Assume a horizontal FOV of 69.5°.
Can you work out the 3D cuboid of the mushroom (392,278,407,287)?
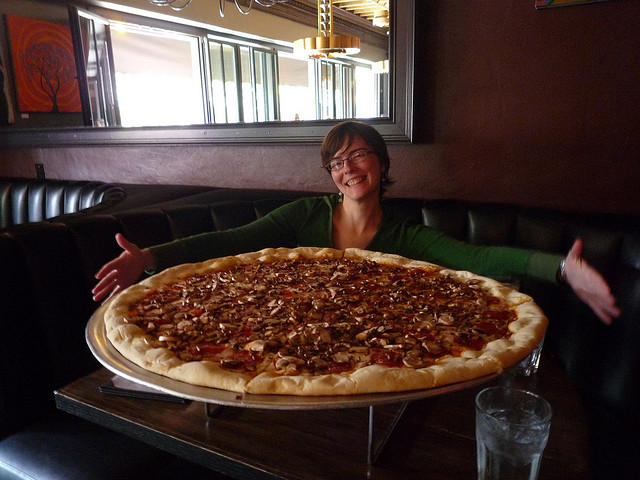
[{"bbox_3d":[0.319,0.166,1.832,0.022,0.017,0.073,-13,5,41],"label":"mushroom"}]

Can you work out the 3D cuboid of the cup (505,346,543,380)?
[{"bbox_3d":[0.657,0.387,1.525,0.125,0.104,0.126,-7,1,0],"label":"cup"}]

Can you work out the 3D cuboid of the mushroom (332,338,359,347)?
[{"bbox_3d":[0.083,0.315,1.433,0.050,0.010,0.030,13,15,35],"label":"mushroom"}]

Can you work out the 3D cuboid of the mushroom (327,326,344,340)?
[{"bbox_3d":[0.045,0.288,1.465,0.034,0.008,0.033,-12,38,-31],"label":"mushroom"}]

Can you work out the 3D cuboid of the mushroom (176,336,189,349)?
[{"bbox_3d":[-0.427,0.315,1.438,0.032,0.008,0.030,23,36,33],"label":"mushroom"}]

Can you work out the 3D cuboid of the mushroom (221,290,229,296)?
[{"bbox_3d":[-0.358,0.199,1.757,0.013,0.003,0.032,-25,28,-33],"label":"mushroom"}]

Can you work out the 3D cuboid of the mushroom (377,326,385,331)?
[{"bbox_3d":[0.197,0.283,1.485,0.022,0.005,0.020,-3,15,0],"label":"mushroom"}]

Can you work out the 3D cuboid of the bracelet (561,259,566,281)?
[{"bbox_3d":[0.857,0.103,1.627,0.017,0.054,0.060,3,25,22],"label":"bracelet"}]

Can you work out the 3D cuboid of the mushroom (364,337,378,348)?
[{"bbox_3d":[0.159,0.315,1.424,0.029,0.008,0.027,-22,29,-8],"label":"mushroom"}]

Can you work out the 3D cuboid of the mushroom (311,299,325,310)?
[{"bbox_3d":[-0.005,0.226,1.631,0.030,0.009,0.035,-9,27,-11],"label":"mushroom"}]

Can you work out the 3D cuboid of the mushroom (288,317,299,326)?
[{"bbox_3d":[-0.088,0.269,1.539,0.020,0.007,0.036,-39,49,-22],"label":"mushroom"}]

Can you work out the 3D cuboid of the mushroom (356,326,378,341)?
[{"bbox_3d":[0.142,0.293,1.465,0.087,0.020,0.024,-12,39,-25],"label":"mushroom"}]

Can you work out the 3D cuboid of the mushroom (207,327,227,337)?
[{"bbox_3d":[-0.324,0.297,1.498,0.084,0.027,0.027,0,44,0],"label":"mushroom"}]

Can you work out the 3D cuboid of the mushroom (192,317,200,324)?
[{"bbox_3d":[-0.416,0.268,1.557,0.027,0.015,0.014,-2,-2,21],"label":"mushroom"}]

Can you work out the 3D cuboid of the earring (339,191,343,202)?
[{"bbox_3d":[0.116,-0.227,2.483,0.019,0.039,0.037,-4,17,3],"label":"earring"}]

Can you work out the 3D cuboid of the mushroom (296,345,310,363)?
[{"bbox_3d":[-0.052,0.332,1.383,0.035,0.008,0.031,-12,25,-21],"label":"mushroom"}]

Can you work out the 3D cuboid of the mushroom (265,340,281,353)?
[{"bbox_3d":[-0.144,0.321,1.420,0.037,0.008,0.032,3,26,1],"label":"mushroom"}]

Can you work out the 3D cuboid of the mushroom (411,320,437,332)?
[{"bbox_3d":[0.343,0.277,1.520,0.078,0.015,0.048,-3,15,1],"label":"mushroom"}]

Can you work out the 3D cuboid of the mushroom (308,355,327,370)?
[{"bbox_3d":[0.002,0.346,1.322,0.034,0.009,0.035,22,23,32],"label":"mushroom"}]

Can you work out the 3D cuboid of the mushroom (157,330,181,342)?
[{"bbox_3d":[-0.472,0.299,1.470,0.044,0.010,0.039,6,5,16],"label":"mushroom"}]

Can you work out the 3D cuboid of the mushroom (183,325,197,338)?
[{"bbox_3d":[-0.417,0.293,1.498,0.037,0.009,0.032,5,29,11],"label":"mushroom"}]

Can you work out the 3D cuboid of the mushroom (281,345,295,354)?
[{"bbox_3d":[-0.094,0.329,1.400,0.021,0.005,0.019,11,27,24],"label":"mushroom"}]

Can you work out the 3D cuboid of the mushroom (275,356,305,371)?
[{"bbox_3d":[-0.087,0.351,1.332,0.042,0.011,0.039,-11,17,-27],"label":"mushroom"}]
